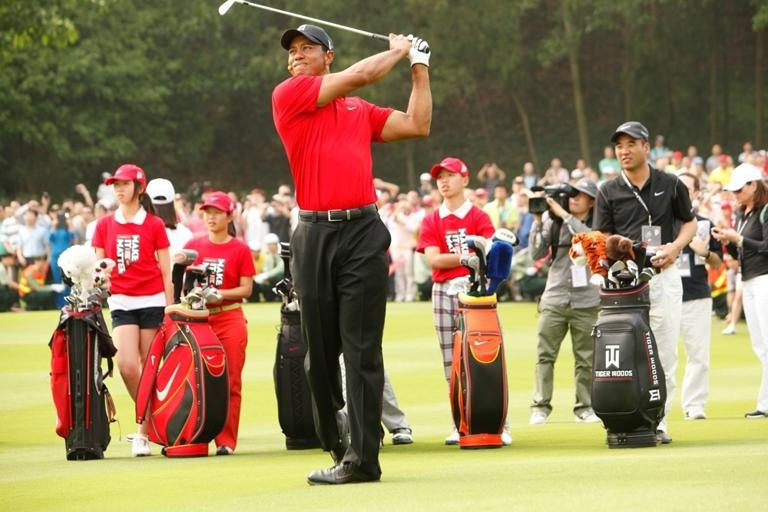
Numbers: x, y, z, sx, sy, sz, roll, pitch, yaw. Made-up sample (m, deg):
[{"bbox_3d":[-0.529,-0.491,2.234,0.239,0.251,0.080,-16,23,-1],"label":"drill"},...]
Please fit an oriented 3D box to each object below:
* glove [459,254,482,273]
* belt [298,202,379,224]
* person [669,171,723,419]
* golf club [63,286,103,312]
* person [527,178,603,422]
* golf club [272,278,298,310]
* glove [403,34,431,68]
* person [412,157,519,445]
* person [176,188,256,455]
[{"bbox_3d":[1.012,0.088,13.317,0.294,0.166,0.106,-5,-2,42],"label":"glove"},{"bbox_3d":[-0.462,-0.416,11.683,0.792,0.139,0.153,-3,-1,-5],"label":"belt"},{"bbox_3d":[4.035,0.531,15.177,1.062,3.459,1.219,0,-1,0],"label":"person"},{"bbox_3d":[-3.504,0.535,13.521,0.304,0.366,0.167,5,34,-11],"label":"golf club"},{"bbox_3d":[2.437,0.643,15.119,1.115,2.871,1.002,0,1,4],"label":"person"},{"bbox_3d":[-1.168,0.467,13.830,0.317,0.470,0.224,-3,2,-12],"label":"golf club"},{"bbox_3d":[0.390,-2.111,11.899,0.245,0.317,0.127,12,9,14],"label":"glove"},{"bbox_3d":[0.920,0.524,14.091,1.160,3.361,0.953,-2,3,34],"label":"person"},{"bbox_3d":[-1.881,0.767,13.794,1.004,2.866,1.378,0,-1,5],"label":"person"}]
